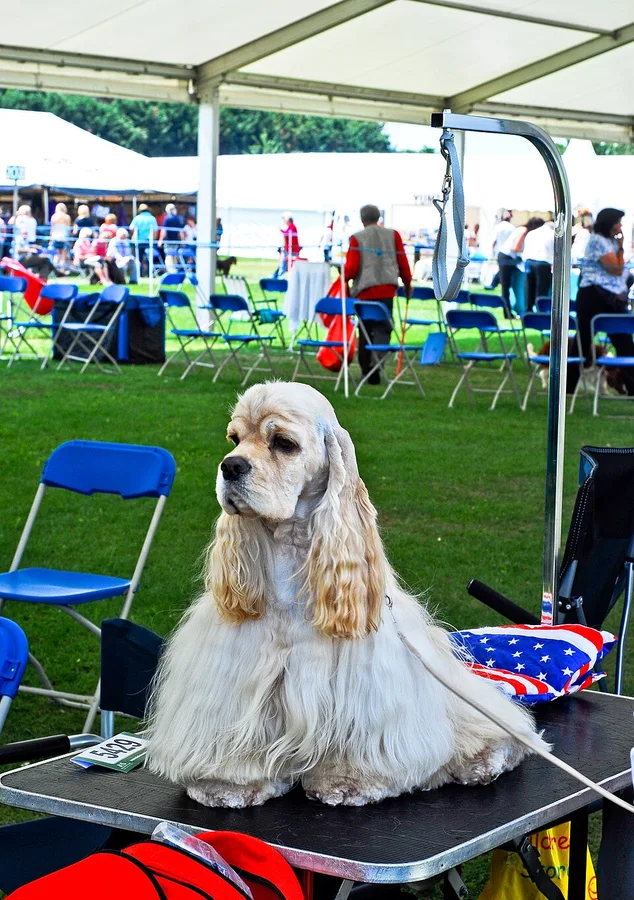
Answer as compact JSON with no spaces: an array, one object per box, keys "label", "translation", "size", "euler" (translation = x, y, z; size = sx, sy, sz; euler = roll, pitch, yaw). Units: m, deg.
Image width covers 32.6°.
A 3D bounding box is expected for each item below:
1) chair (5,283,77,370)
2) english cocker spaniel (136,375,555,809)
[{"label":"chair","translation":[-2.482,-1.166,9.820],"size":[0.618,0.750,1.549],"euler":[-2,10,-15]},{"label":"english cocker spaniel","translation":[-0.051,0.237,1.975],"size":[0.735,0.679,0.674],"euler":[-6,-9,33]}]
